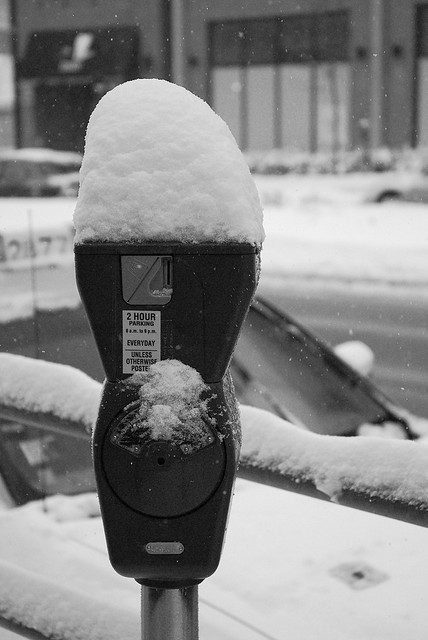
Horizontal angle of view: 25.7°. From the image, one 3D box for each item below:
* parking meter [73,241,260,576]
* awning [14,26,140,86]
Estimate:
[{"bbox_3d":[-0.094,0.142,1.818,0.334,0.793,0.230,2,27,1],"label":"parking meter"},{"bbox_3d":[-0.459,-0.845,3.030,0.524,0.197,0.154,11,16,32],"label":"awning"}]
